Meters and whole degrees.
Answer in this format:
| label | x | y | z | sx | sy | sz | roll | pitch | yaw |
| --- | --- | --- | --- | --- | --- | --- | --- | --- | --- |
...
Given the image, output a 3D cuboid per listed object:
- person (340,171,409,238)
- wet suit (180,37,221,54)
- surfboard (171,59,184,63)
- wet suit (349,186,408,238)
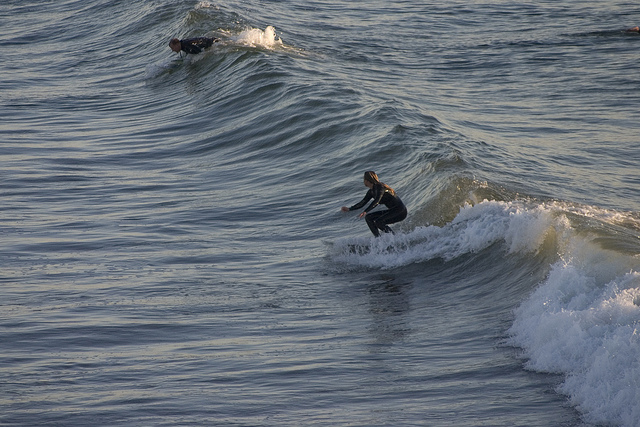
| label | x | y | z | sx | sy | sz | roll | pitch | yaw |
| --- | --- | --- | --- | --- | --- | --- | --- | --- | --- |
| person | 1.291 | -0.134 | 25.947 | 1.718 | 1.676 | 0.795 | -5 | 44 | 14 |
| wet suit | -3.701 | -5.173 | 35.786 | 0.955 | 0.213 | 0.556 | -12 | 12 | -17 |
| surfboard | -4.440 | -4.772 | 36.216 | 0.134 | 0.147 | 0.387 | -16 | 30 | -41 |
| wet suit | 1.269 | -0.040 | 24.946 | 1.147 | 1.244 | 0.514 | -3 | 31 | -23 |
